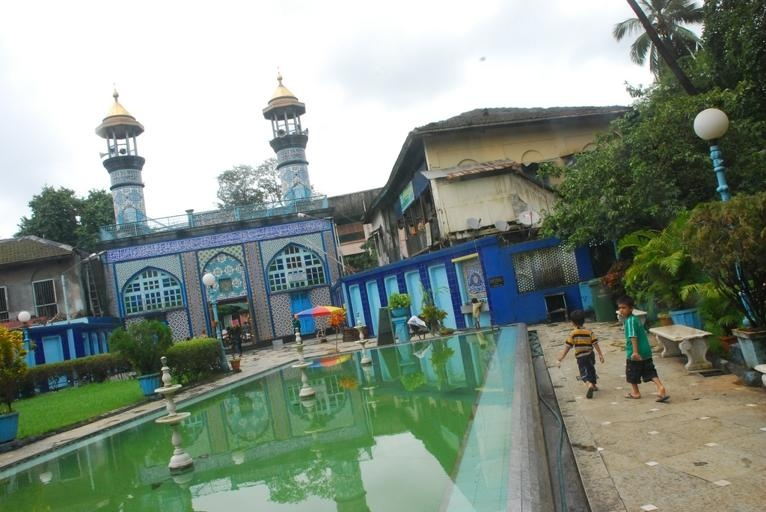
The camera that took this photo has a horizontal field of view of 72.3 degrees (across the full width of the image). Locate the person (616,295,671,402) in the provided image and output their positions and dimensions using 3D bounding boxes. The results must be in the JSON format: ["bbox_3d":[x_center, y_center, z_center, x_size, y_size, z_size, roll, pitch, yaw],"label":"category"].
[{"bbox_3d":[4.122,1.439,8.529,0.603,1.757,1.047,-10,-1,22],"label":"person"}]

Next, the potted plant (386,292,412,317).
[{"bbox_3d":[0.582,1.794,19.679,0.881,0.880,0.926,-7,-6,32],"label":"potted plant"}]

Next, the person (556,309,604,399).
[{"bbox_3d":[3.439,1.641,9.064,0.521,1.532,0.948,-10,-1,32],"label":"person"}]

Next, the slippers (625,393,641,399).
[{"bbox_3d":[3.984,2.227,8.404,0.222,0.081,0.162,-9,-1,30],"label":"slippers"}]

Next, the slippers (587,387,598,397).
[{"bbox_3d":[3.458,2.197,8.715,0.100,0.277,0.120,2,-2,4],"label":"slippers"}]

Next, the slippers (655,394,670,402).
[{"bbox_3d":[4.263,2.159,8.029,0.197,0.129,0.150,-9,-1,23],"label":"slippers"}]

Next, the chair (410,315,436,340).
[{"bbox_3d":[1.371,2.586,19.207,0.897,0.855,0.794,-2,-2,14],"label":"chair"}]

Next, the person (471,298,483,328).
[{"bbox_3d":[3.353,1.968,18.680,0.379,1.129,0.847,-10,-1,5],"label":"person"}]
